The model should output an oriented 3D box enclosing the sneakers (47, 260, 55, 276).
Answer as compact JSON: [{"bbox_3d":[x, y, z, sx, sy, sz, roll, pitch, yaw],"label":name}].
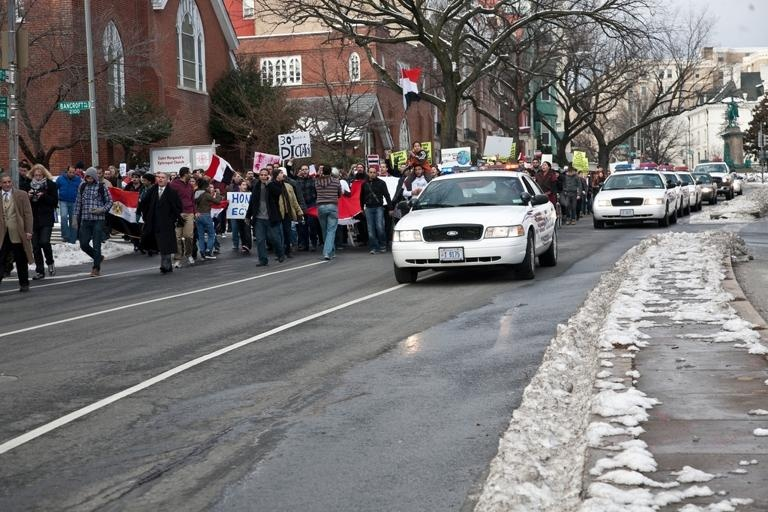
[{"bbox_3d":[-8.097,0.260,18.299,0.176,0.362,0.086,-1,10,0],"label":"sneakers"}]

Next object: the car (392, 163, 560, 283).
[{"bbox_3d":[1.889,-0.647,14.513,3.525,2.085,2.212,-7,6,-42],"label":"car"}]

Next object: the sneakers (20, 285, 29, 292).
[{"bbox_3d":[-7.440,0.644,15.512,0.173,0.122,0.294,-5,5,-27],"label":"sneakers"}]

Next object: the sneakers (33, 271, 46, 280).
[{"bbox_3d":[-8.260,0.457,17.962,0.163,0.160,0.387,0,-3,-7],"label":"sneakers"}]
